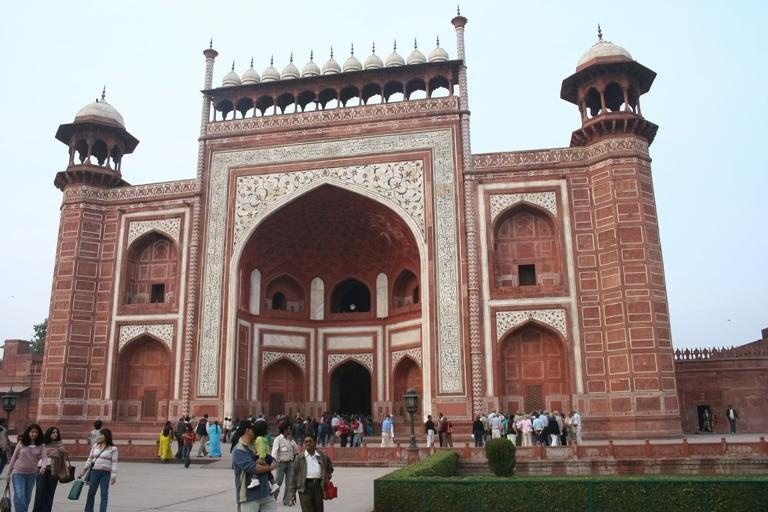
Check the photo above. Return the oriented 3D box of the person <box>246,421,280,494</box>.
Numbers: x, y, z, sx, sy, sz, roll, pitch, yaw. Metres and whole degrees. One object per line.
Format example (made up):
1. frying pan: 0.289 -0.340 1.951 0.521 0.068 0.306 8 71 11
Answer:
1. person: -1.786 2.923 9.481 0.347 1.046 0.337 -3 7 22

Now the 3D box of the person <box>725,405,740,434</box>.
1. person: 10.225 4.794 19.135 0.283 0.806 0.812 -10 -18 26

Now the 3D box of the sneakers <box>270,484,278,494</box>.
1. sneakers: -1.416 3.005 8.366 0.088 0.116 0.117 -5 -36 -4
